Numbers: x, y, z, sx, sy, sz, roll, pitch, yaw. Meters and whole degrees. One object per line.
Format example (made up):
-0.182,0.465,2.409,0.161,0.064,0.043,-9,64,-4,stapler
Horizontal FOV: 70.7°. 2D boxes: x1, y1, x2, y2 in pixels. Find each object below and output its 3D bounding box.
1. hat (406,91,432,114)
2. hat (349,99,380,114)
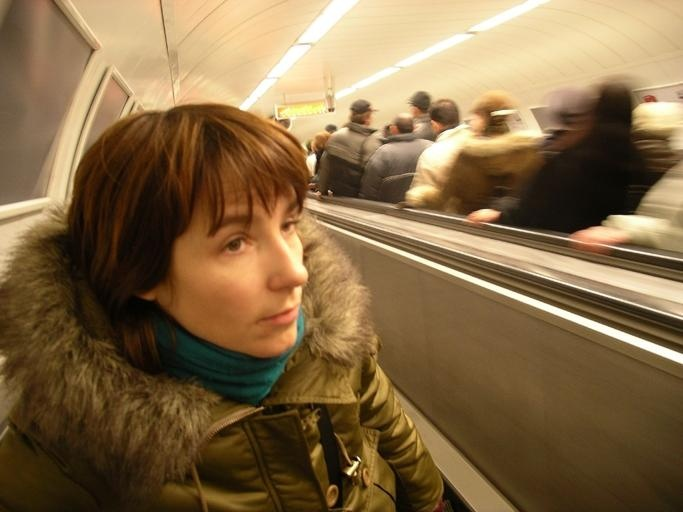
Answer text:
0.515,-0.981,3.115,0.152,0.142,0.114,-24,12,21,hat
0.155,-1.158,3.746,0.180,0.080,0.110,-6,14,8,hat
